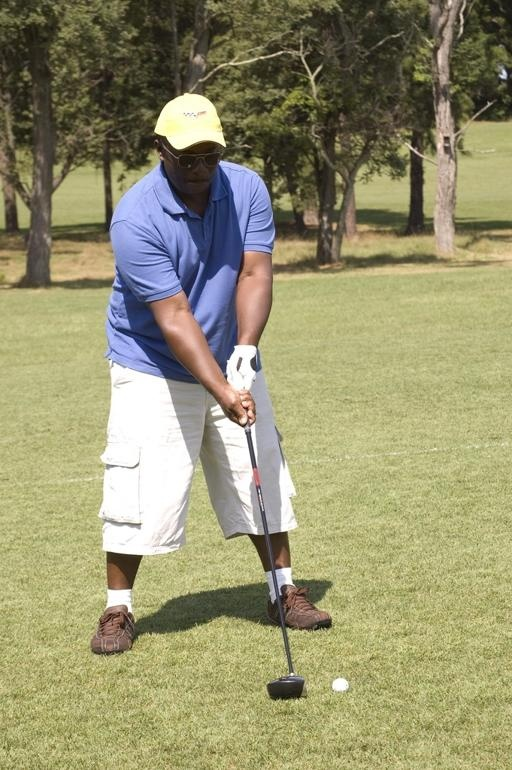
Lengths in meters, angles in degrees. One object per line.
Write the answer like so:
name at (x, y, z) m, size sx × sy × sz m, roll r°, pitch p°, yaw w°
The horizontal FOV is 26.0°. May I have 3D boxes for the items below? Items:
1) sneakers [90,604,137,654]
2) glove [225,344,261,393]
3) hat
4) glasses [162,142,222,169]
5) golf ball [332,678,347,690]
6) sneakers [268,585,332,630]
sneakers at (-0.450, 0.784, 3.469) m, size 0.133 × 0.121 × 0.118 m, roll -2°, pitch 8°, yaw -13°
glove at (-0.040, -0.052, 3.461) m, size 0.122 × 0.183 × 0.099 m, roll 3°, pitch -17°, yaw -7°
hat at (-0.195, -0.802, 3.285) m, size 0.157 × 0.124 × 0.228 m, roll -4°, pitch 16°, yaw -17°
glasses at (-0.198, -0.696, 3.287) m, size 0.188 × 0.084 × 0.113 m, roll 0°, pitch 8°, yaw 5°
golf ball at (0.233, 0.850, 3.089) m, size 0.046 × 0.028 × 0.057 m, roll 0°, pitch 8°, yaw 3°
sneakers at (0.141, 0.735, 3.626) m, size 0.093 × 0.112 × 0.228 m, roll -8°, pitch 7°, yaw -43°
